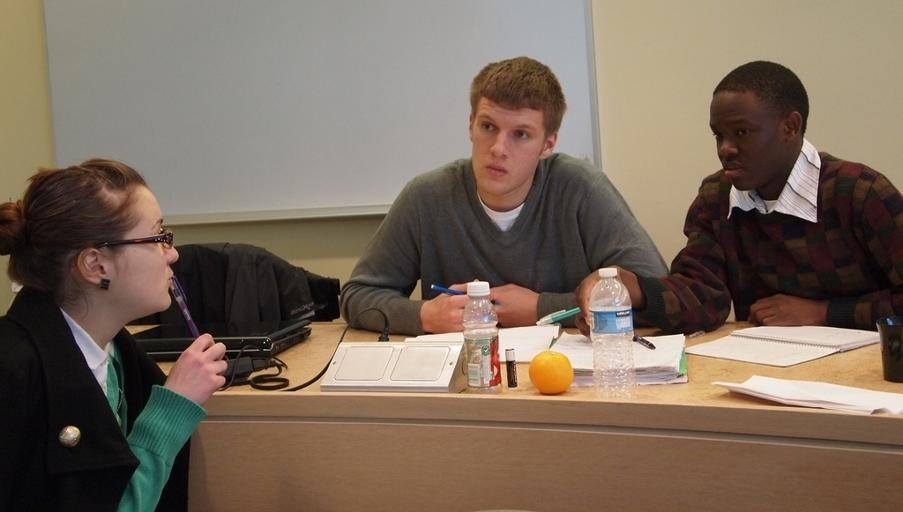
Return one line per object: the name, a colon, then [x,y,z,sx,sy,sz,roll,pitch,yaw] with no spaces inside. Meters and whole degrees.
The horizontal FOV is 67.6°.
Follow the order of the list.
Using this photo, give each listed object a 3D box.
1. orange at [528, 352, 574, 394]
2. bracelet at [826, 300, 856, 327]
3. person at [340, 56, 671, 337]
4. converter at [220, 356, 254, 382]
orange: [0.311,0.365,2.141,0.145,0.117,0.130,-1,-6,-4]
bracelet: [1.484,0.220,2.560,0.104,0.095,0.035,2,-14,27]
person: [0.322,-0.301,3.089,1.500,1.098,0.826,1,10,11]
converter: [-0.747,0.399,2.370,0.090,0.080,0.037,1,-14,-5]
